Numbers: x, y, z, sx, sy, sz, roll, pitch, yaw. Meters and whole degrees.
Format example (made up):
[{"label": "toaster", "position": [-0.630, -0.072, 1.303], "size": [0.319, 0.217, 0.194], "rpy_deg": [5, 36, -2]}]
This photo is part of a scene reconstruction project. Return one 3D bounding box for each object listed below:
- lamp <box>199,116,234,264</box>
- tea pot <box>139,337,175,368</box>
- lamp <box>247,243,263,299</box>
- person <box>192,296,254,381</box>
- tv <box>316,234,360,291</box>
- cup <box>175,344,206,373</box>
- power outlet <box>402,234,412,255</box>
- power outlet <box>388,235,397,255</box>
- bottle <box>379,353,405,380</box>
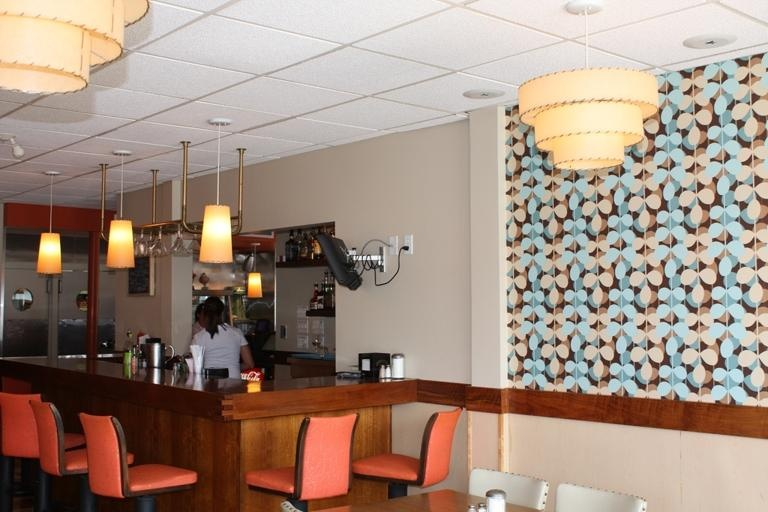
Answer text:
[{"label": "lamp", "position": [-1.633, -0.520, 6.110], "size": [0.274, 1.211, 1.576], "rpy_deg": [1, -4, -15]}, {"label": "tea pot", "position": [-2.406, 1.030, 6.594], "size": [0.409, 0.387, 0.239], "rpy_deg": [1, -2, -4]}, {"label": "lamp", "position": [-2.117, 0.251, 10.355], "size": [0.242, 0.906, 0.694], "rpy_deg": [0, -4, -11]}, {"label": "person", "position": [-1.715, 0.871, 6.833], "size": [0.671, 0.841, 0.557], "rpy_deg": [2, -4, -33]}, {"label": "tv", "position": [-0.425, 0.063, 6.018], "size": [0.246, 0.530, 0.496], "rpy_deg": [-2, -4, 33]}, {"label": "cup", "position": [-1.826, 1.002, 6.073], "size": [0.292, 0.294, 0.177], "rpy_deg": [2, -4, 12]}, {"label": "power outlet", "position": [0.218, -0.105, 5.766], "size": [0.113, 0.186, 0.025], "rpy_deg": [-3, -5, 44]}, {"label": "power outlet", "position": [0.079, -0.098, 5.867], "size": [0.036, 0.168, 0.127], "rpy_deg": [2, -4, -35]}, {"label": "bottle", "position": [0.074, 1.008, 5.700], "size": [0.219, 0.219, 0.137], "rpy_deg": [0, -3, 1]}]
